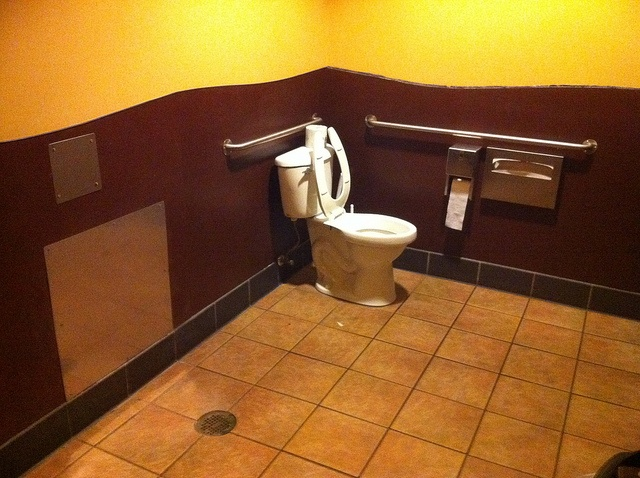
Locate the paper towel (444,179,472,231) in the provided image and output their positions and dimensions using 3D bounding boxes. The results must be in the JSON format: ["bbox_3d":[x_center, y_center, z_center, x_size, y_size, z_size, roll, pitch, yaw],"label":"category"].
[{"bbox_3d":[1.021,-0.234,3.708,0.153,0.435,0.112,11,32,17],"label":"paper towel"}]

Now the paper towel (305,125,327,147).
[{"bbox_3d":[-0.029,-0.702,3.412,0.136,0.129,0.144,1,23,0],"label":"paper towel"}]

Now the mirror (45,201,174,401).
[{"bbox_3d":[-1.099,0.307,2.566,0.055,0.953,0.834,10,21,22],"label":"mirror"}]

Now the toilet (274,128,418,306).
[{"bbox_3d":[0.212,-0.172,3.610,1.001,1.197,0.620,10,21,30],"label":"toilet"}]
